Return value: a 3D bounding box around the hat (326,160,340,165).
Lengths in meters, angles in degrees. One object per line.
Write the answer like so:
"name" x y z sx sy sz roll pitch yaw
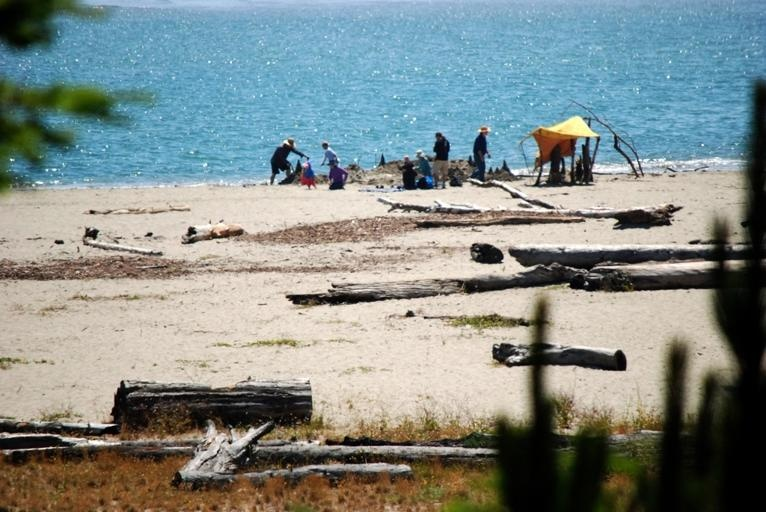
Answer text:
"hat" -3.898 -7.173 114.745 0.775 0.374 0.979 -1 3 -5

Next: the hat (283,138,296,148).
"hat" -7.435 -8.744 115.218 1.003 1.012 1.097 3 -1 3
